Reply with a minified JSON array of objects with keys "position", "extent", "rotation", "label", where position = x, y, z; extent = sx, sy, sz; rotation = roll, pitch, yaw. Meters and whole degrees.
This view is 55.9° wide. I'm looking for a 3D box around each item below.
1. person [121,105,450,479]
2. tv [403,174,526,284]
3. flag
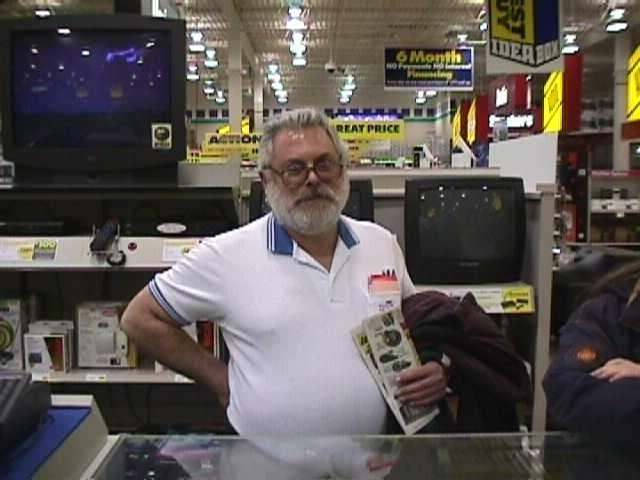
[{"position":[-0.185,0.125,2.323],"extent":[0.996,1.224,0.346],"rotation":[-1,4,6],"label":"person"},{"position":[0.808,-0.119,3.369],"extent":[0.617,0.576,0.356],"rotation":[0,21,13],"label":"tv"},{"position":[2.057,-3.218,11.485],"extent":[1.661,0.882,0.242],"rotation":[1,-11,4],"label":"flag"}]
